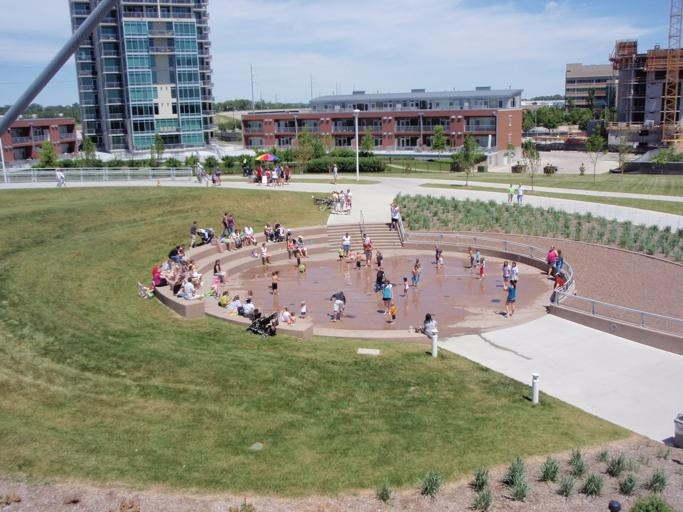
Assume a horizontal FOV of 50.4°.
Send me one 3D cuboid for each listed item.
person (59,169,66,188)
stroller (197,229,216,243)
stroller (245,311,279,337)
[{"bbox_3d":[-22.619,-6.284,58.690,0.560,1.149,1.628,-8,13,-20],"label":"person"},{"bbox_3d":[-8.666,-1.385,46.782,1.013,1.002,0.761,-25,18,-11],"label":"stroller"},{"bbox_3d":[-3.670,3.230,33.877,1.283,0.784,0.913,-11,3,22],"label":"stroller"}]
